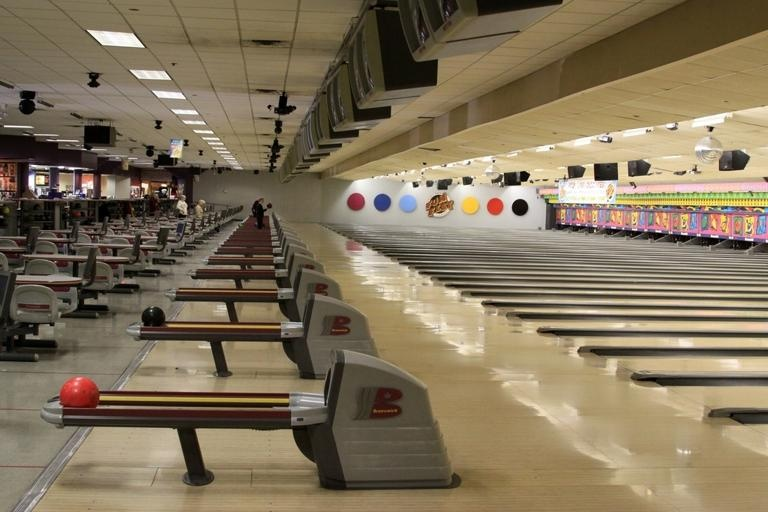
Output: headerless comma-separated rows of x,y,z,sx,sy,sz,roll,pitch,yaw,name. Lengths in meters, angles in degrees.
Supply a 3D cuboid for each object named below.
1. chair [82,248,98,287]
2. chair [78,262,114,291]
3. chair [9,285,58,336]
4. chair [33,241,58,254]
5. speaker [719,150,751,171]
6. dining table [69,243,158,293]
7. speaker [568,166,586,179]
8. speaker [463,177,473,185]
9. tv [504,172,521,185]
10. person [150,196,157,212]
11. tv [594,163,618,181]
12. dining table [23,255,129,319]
-4.015,0.178,7.082,0.226,0.539,0.179,5,-8,-8,chair
-3.972,0.307,7.462,0.514,0.411,0.446,3,0,-12,chair
-3.416,0.534,5.204,0.561,0.398,0.459,2,16,-12,chair
-6.111,-0.140,9.310,0.364,0.309,0.305,1,-3,-15,chair
9.232,-2.496,13.640,0.639,0.479,0.791,2,3,30,speaker
-4.727,0.180,8.851,1.447,0.550,1.154,0,2,-7,dining table
7.508,-3.233,20.212,0.711,0.288,0.506,0,-3,10,speaker
4.795,-4.270,29.641,0.435,0.353,0.375,13,12,39,speaker
6.246,-3.751,25.140,0.561,0.514,1.281,0,3,-15,tv
-10.453,-2.284,23.480,0.341,0.608,0.480,5,-2,-22,person
7.828,-2.959,18.255,0.816,0.512,0.353,3,14,12,tv
-4.452,0.422,7.385,1.777,0.653,1.109,1,6,-2,dining table
